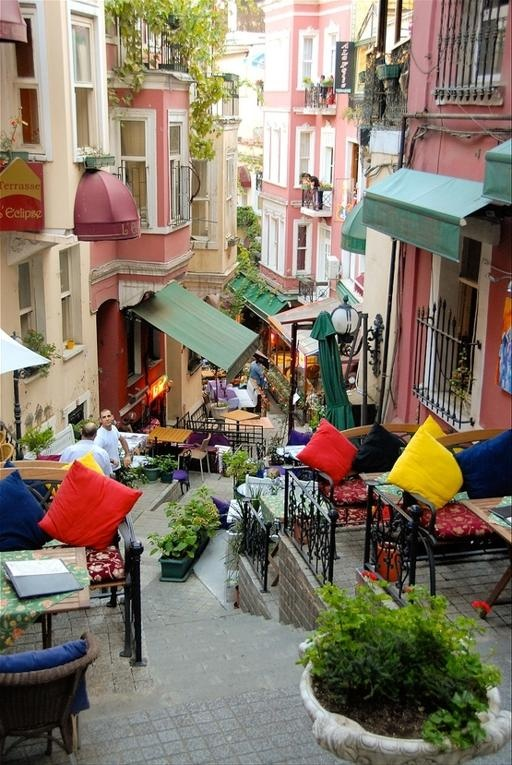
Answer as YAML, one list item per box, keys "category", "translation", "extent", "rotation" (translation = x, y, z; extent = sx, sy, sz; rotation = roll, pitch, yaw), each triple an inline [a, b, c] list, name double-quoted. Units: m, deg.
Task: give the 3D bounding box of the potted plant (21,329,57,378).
- category: "potted plant"
  translation: [-4.040, -0.559, 10.269]
  extent: [0.664, 0.545, 0.640]
  rotation: [-5, 42, -19]

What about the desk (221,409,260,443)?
- category: "desk"
  translation: [-0.409, 1.638, 18.067]
  extent: [1.042, 0.858, 1.149]
  rotation: [-6, 13, -32]

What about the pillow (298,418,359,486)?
- category: "pillow"
  translation: [0.793, 0.769, 6.020]
  extent: [0.660, 0.606, 0.194]
  rotation: [-52, 8, -28]

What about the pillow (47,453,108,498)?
- category: "pillow"
  translation: [-1.677, 0.876, 5.166]
  extent: [0.343, 0.431, 0.125]
  rotation: [25, -5, 38]

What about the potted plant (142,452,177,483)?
- category: "potted plant"
  translation: [-2.500, 2.235, 14.577]
  extent: [0.629, 0.651, 0.688]
  rotation: [1, -2, -4]

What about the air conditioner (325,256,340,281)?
- category: "air conditioner"
  translation: [3.687, -5.494, 26.298]
  extent: [0.470, 1.125, 0.705]
  rotation: [-1, -10, -1]

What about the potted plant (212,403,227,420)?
- category: "potted plant"
  translation: [-1.375, 1.039, 19.941]
  extent: [0.455, 0.383, 0.495]
  rotation: [0, 4, -1]

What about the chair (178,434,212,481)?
- category: "chair"
  translation: [-1.720, 2.164, 15.628]
  extent: [0.919, 1.537, 0.967]
  rotation: [4, 13, 6]

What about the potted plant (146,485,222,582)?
- category: "potted plant"
  translation: [-1.084, 2.340, 8.988]
  extent: [0.757, 0.780, 1.715]
  rotation: [-1, 4, 5]

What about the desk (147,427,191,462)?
- category: "desk"
  translation: [-2.489, 1.665, 15.713]
  extent: [0.965, 1.083, 0.817]
  rotation: [2, 13, 4]
